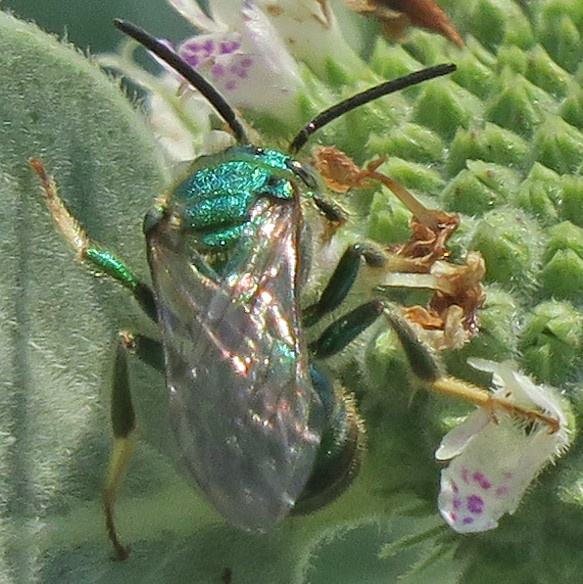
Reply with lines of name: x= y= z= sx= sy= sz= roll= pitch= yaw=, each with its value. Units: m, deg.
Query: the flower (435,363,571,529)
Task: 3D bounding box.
flower: x=0.263 y=0.198 z=1.324 sx=0.165 sy=0.057 sz=0.194 roll=32 pitch=90 yaw=10
